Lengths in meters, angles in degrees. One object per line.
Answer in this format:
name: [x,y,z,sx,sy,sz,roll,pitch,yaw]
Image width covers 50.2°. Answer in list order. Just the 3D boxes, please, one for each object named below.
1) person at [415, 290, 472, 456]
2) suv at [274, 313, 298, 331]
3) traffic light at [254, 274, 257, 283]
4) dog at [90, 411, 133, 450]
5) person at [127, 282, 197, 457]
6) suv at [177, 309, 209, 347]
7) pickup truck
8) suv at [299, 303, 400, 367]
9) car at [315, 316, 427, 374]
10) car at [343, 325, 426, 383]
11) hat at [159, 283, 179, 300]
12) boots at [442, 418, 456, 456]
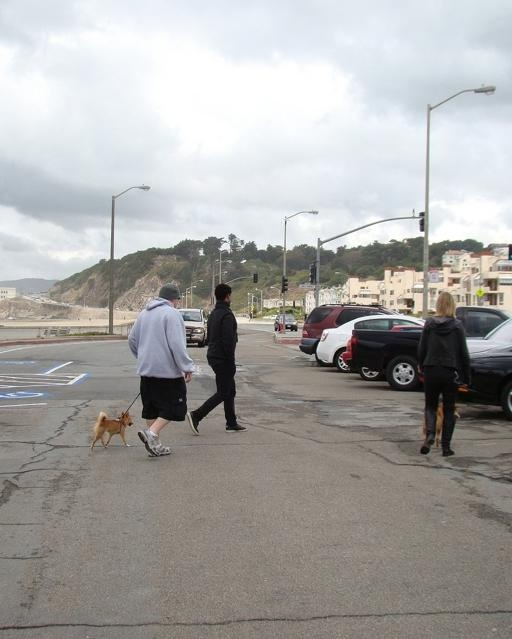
person: [2.260,0.659,6.605,0.586,1.963,0.491,0,-2,14]
suv: [3.248,0.486,59.163,1.495,1.346,2.863,0,-4,-9]
traffic light: [-0.151,-4.596,61.114,0.398,1.007,1.185,1,-2,-8]
dog: [-1.767,1.374,6.650,0.163,0.370,0.663,-7,-10,27]
person: [-1.064,0.593,6.104,0.724,1.969,0.426,1,-2,0]
suv: [-3.540,0.447,31.394,1.612,1.545,3.520,0,-3,1]
pickup truck: [4.438,0.755,13.579,4.516,1.685,1.907,-2,2,7]
suv: [3.178,0.458,19.072,3.139,1.581,1.811,-3,4,0]
car: [3.376,0.644,16.301,3.086,1.098,1.387,-3,3,3]
car: [3.123,0.954,13.229,2.128,0.879,1.217,-4,4,4]
hat: [-0.973,-0.310,6.221,0.229,0.198,0.171,-9,20,-41]
boots: [2.270,1.416,6.509,0.149,0.443,0.376,0,-2,19]
